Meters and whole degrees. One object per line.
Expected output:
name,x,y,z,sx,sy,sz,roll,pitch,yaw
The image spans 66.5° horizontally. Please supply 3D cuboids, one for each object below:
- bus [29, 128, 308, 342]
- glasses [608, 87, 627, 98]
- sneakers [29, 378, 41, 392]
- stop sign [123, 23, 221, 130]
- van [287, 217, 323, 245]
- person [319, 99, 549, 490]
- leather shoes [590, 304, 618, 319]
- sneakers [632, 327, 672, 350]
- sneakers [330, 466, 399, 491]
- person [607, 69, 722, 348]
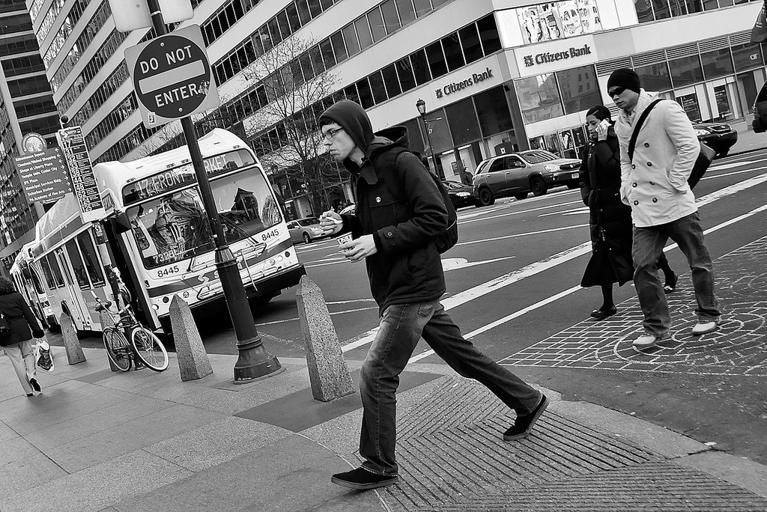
bus,-7.432,-0.057,17.739,3.862,3.705,11.847,-11,1,-36
glasses,2.498,-1.763,6.261,0.129,0.101,0.167,-22,-28,40
sneakers,-6.333,2.358,10.686,0.105,0.304,0.233,-11,5,-3
stop sign,-2.958,-2.543,8.186,1.093,1.374,0.360,-12,5,-12
van,-4.252,-1.275,31.273,1.485,1.129,3.300,-5,-2,-35
person,0.147,0.206,4.642,1.556,2.376,0.479,-11,5,-5
leather shoes,2.875,0.730,7.552,0.409,0.176,0.138,-8,-8,-29
sneakers,2.876,0.890,6.251,0.440,0.191,0.160,-17,3,-21
sneakers,-0.167,1.729,4.602,0.444,0.166,0.196,2,-5,-4
person,2.908,-0.552,6.127,0.815,2.928,0.647,-8,5,30
